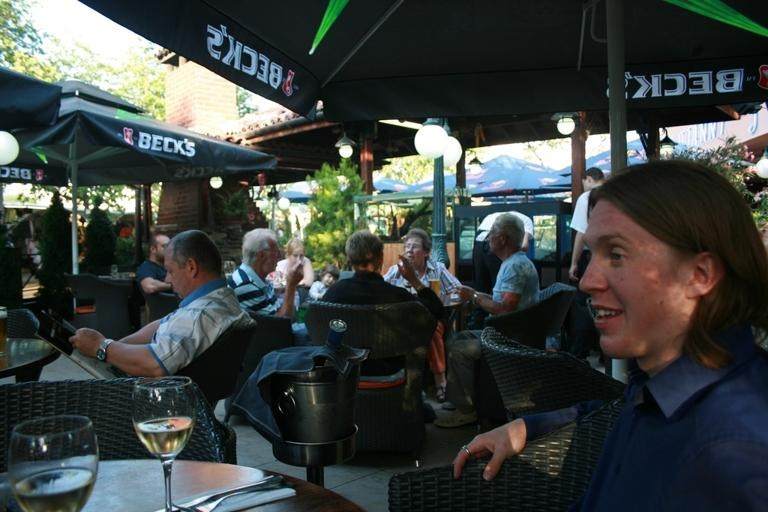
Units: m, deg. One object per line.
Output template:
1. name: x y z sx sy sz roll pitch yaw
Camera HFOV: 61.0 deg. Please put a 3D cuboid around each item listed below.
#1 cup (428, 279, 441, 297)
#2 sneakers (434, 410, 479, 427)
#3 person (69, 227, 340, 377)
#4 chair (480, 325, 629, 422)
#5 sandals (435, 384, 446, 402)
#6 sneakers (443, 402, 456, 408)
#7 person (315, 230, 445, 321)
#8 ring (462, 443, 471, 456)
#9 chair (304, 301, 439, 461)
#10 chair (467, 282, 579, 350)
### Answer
1. cup: 0.440 0.268 5.693 0.127 0.153 0.131 0 -3 0
2. sneakers: 0.545 1.254 5.083 0.346 0.142 0.128 1 -1 -15
3. person: -1.202 0.255 3.805 0.862 0.721 0.737 3 -2 -1
4. chair: 0.764 0.556 3.134 0.524 0.537 0.445 -7 10 19
5. sandals: 0.482 1.189 5.696 0.067 0.082 0.204 0 -7 -1
6. sneakers: 0.535 1.218 5.399 0.069 0.064 0.156 2 -12 -10
7. person: 0.027 0.148 5.600 0.710 1.097 0.426 1 20 12
8. ring: 0.316 0.742 2.508 0.013 0.033 0.028 -48 22 -18
9. chair: -0.077 0.738 4.600 0.967 1.192 0.876 2 15 12
10. chair: 1.124 0.552 5.062 0.610 0.677 0.565 0 8 4
